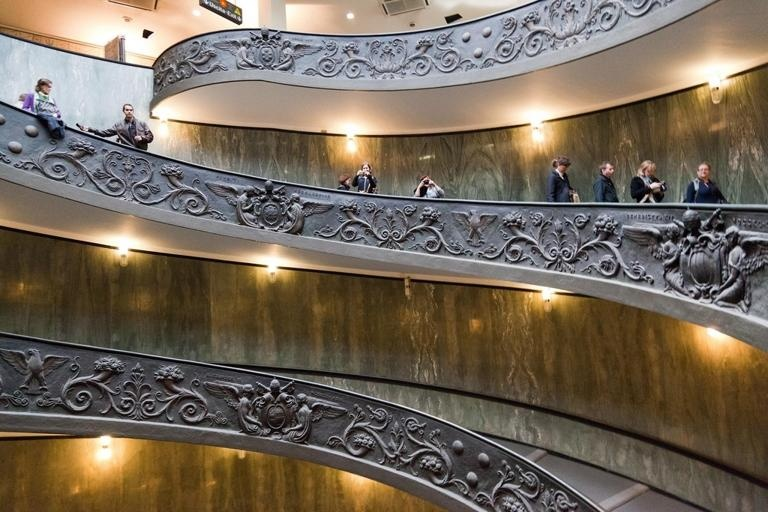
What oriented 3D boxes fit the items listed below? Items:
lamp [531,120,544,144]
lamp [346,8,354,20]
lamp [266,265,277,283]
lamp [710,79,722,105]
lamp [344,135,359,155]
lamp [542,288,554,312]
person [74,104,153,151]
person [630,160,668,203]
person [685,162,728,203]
[{"bbox_3d":[4.474,-3.627,20.259,0.431,0.467,0.934,0,-86,21],"label":"lamp"},{"bbox_3d":[-1.170,-8.163,23.571,0.271,0.311,0.324,-4,-63,2],"label":"lamp"},{"bbox_3d":[-3.342,0.462,20.682,0.382,0.403,0.484,-5,-95,-3],"label":"lamp"},{"bbox_3d":[8.394,-4.151,17.526,0.291,0.426,0.574,-5,-64,3],"label":"lamp"},{"bbox_3d":[-1.050,-3.577,21.949,0.403,0.249,0.556,-1,-64,0],"label":"lamp"},{"bbox_3d":[4.457,1.063,18.867,0.304,0.442,0.625,-3,-64,2],"label":"lamp"},{"bbox_3d":[-7.378,-3.471,18.663,0.568,1.485,1.912,-38,-110,45],"label":"person"},{"bbox_3d":[5.979,-1.594,15.748,0.653,0.592,1.209,6,-57,29],"label":"person"},{"bbox_3d":[7.522,-1.719,16.107,0.993,0.529,1.245,0,-103,2],"label":"person"}]
